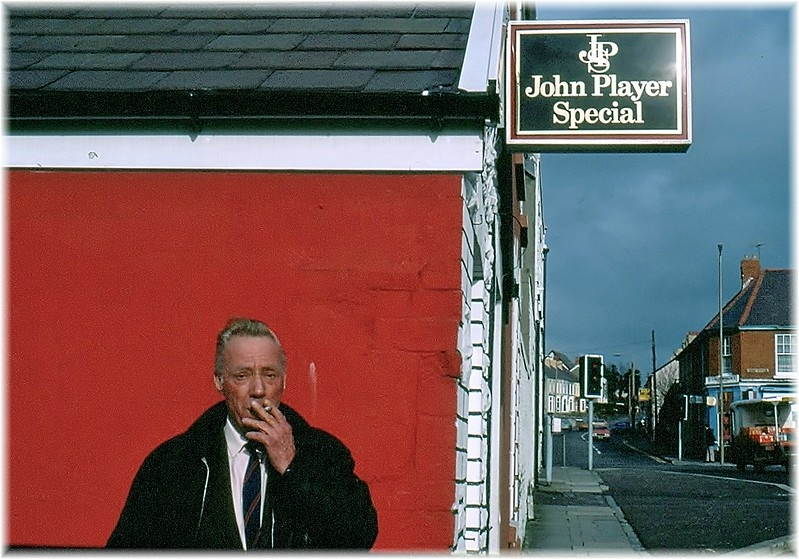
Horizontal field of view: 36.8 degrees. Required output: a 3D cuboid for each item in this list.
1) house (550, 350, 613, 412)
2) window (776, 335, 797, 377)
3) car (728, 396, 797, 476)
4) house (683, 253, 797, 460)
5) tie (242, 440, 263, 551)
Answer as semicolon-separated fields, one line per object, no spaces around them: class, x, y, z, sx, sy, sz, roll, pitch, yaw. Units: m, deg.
house;19.837;13.179;146.589;11.218;7.124;6.163;9;-14;-40
window;15.144;2.942;46.901;0.612;1.675;0.783;2;-5;-33
car;10.432;4.412;34.449;1.231;1.426;2.325;0;-10;7
house;12.676;3.157;43.471;3.474;5.636;7.745;0;-4;11
tie;-1.170;1.743;9.653;0.163;0.851;0.020;-1;-4;8
